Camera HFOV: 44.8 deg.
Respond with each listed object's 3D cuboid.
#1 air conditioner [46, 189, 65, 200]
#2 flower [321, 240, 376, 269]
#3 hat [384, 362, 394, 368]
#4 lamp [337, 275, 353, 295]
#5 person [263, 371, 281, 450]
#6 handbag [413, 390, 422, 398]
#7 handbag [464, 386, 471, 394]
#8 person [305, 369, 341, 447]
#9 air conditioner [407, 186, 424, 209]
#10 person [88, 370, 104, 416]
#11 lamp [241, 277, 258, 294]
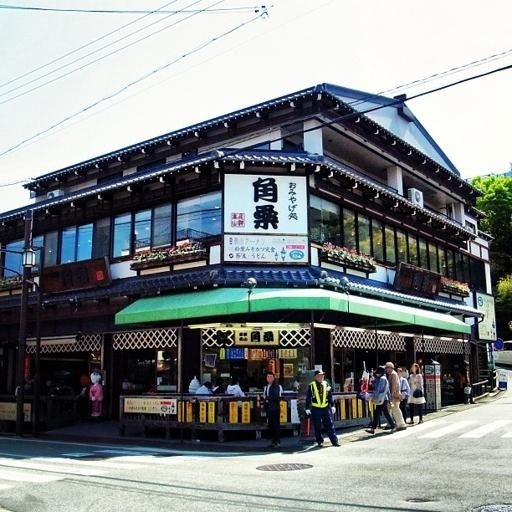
[{"bbox_3d":[-9.150,-2.837,28.454,1.156,0.595,0.367,-6,-9,35],"label":"air conditioner"},{"bbox_3d":[3.205,0.004,21.886,0.280,0.704,2.976,-16,-20,39],"label":"flower"},{"bbox_3d":[3.847,3.111,17.894,0.268,0.112,0.310,-1,-9,7],"label":"hat"},{"bbox_3d":[2.798,0.899,19.724,0.477,0.552,0.399,2,2,34],"label":"lamp"},{"bbox_3d":[0.435,3.787,15.502,0.409,1.806,0.786,-3,-16,1],"label":"person"},{"bbox_3d":[4.950,4.183,19.000,0.231,0.187,0.094,-1,-32,5],"label":"handbag"},{"bbox_3d":[8.720,5.496,25.613,0.276,0.342,0.288,-6,-16,14],"label":"handbag"},{"bbox_3d":[1.604,3.683,15.234,0.758,1.827,0.828,-4,-16,4],"label":"person"},{"bbox_3d":[7.082,-2.609,27.674,0.468,1.105,1.394,-7,-10,31],"label":"air conditioner"},{"bbox_3d":[-5.815,4.975,22.590,0.511,1.674,0.509,-7,-17,14],"label":"person"},{"bbox_3d":[-0.176,0.849,18.283,0.388,0.419,0.458,2,-55,-2],"label":"lamp"}]
